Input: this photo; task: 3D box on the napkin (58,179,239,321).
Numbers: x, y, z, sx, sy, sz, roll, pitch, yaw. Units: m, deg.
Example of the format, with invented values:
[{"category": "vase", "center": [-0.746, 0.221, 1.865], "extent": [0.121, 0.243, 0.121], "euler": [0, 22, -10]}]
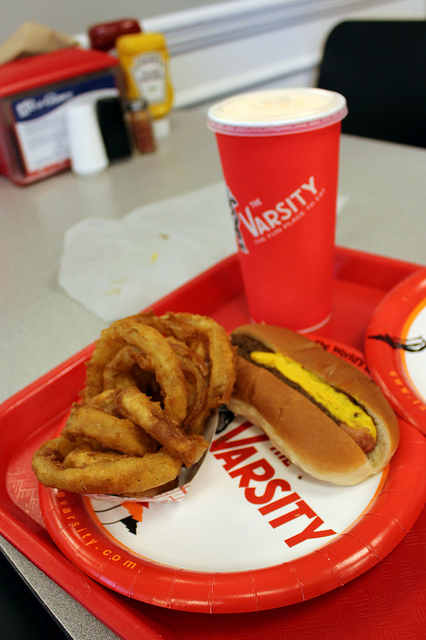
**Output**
[{"category": "napkin", "center": [-0.111, -0.127, 0.979], "extent": [0.200, 0.005, 0.303], "euler": [31, 49, 29]}]

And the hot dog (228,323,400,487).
[{"category": "hot dog", "center": [0.106, 0.091, 0.636], "extent": [0.131, 0.077, 0.257], "euler": [-19, 32, -25]}]

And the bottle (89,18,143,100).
[{"category": "bottle", "center": [-0.233, -0.608, 1.278], "extent": [0.133, 0.180, 0.132], "euler": [-11, 22, 5]}]

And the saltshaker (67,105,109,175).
[{"category": "saltshaker", "center": [-0.259, -0.363, 1.106], "extent": [0.075, 0.142, 0.057], "euler": [-20, 39, -11]}]
